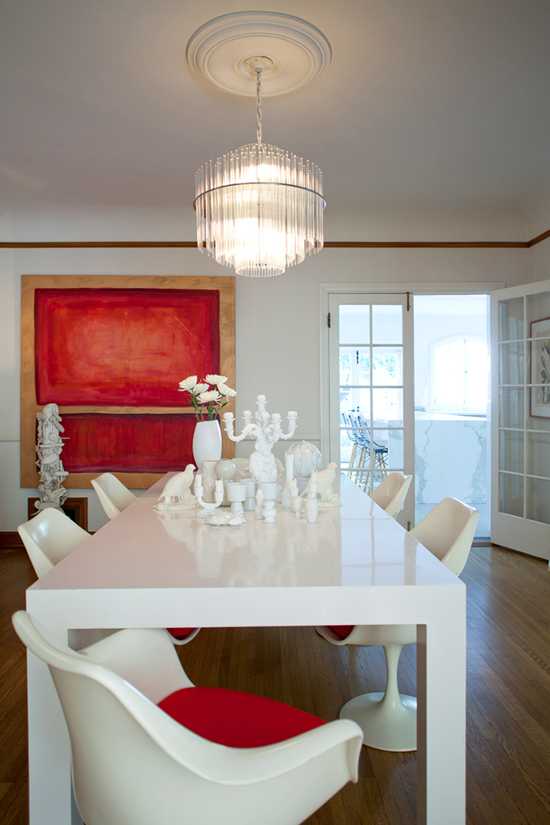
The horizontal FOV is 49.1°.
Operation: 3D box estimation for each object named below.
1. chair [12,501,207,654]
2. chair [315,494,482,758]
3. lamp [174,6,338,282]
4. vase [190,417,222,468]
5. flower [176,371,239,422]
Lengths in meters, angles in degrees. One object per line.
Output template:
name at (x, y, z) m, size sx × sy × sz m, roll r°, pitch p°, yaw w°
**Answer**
chair at (-0.650, 0.519, 2.134) m, size 0.726 × 0.512 × 0.574 m, roll -6°, pitch 3°, yaw -19°
chair at (0.367, 0.649, 1.944) m, size 0.564 × 0.711 × 0.574 m, roll 6°, pitch 6°, yaw 39°
lamp at (-0.081, -1.088, 2.619) m, size 0.530 × 0.978 × 0.537 m, roll -1°, pitch 0°, yaw -23°
vase at (-0.251, 0.106, 2.245) m, size 0.096 × 0.150 × 0.073 m, roll -1°, pitch 4°, yaw -15°
flower at (-0.393, -0.088, 3.348) m, size 0.288 × 0.298 × 0.301 m, roll -9°, pitch -7°, yaw 23°
